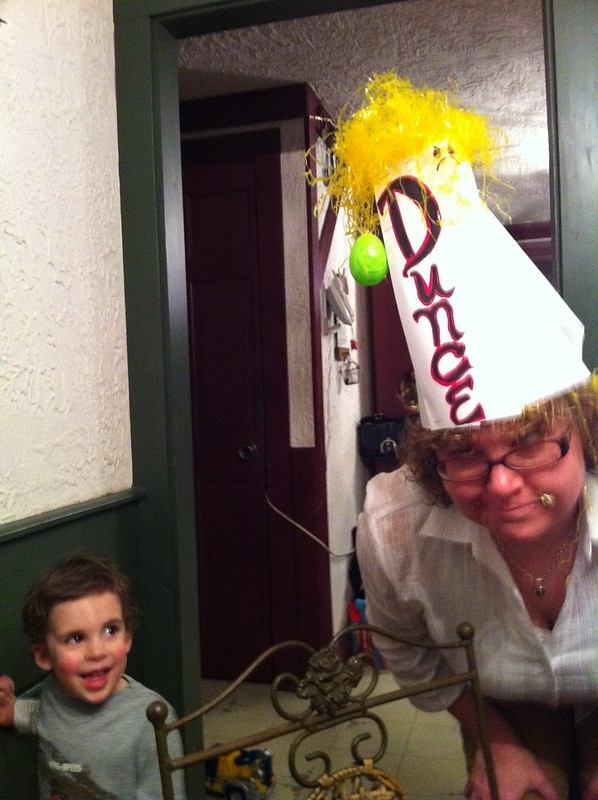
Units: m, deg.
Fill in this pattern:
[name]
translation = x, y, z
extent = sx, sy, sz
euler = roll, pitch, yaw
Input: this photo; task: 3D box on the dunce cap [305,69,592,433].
[dunce cap]
translation = 0.210, -0.226, 1.036
extent = 0.229, 0.510, 0.331
euler = -8, 8, -31
